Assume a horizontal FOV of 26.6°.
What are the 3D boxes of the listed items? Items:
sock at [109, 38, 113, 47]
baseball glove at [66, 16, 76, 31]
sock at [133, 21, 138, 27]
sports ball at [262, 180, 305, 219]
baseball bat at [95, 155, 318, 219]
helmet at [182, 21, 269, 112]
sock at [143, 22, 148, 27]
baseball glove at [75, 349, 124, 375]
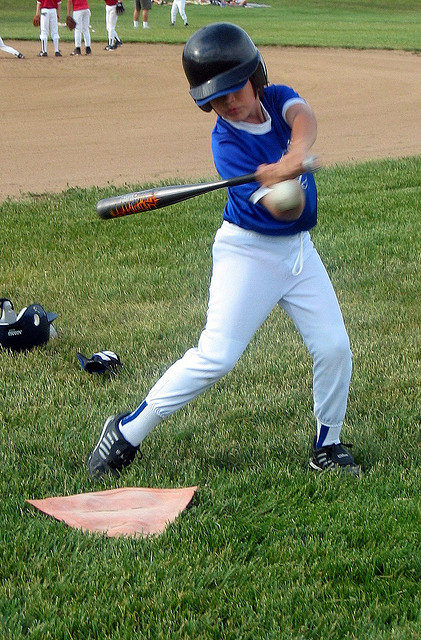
[{"bbox_3d":[-2.188,-6.047,19.596,0.076,0.235,0.060,7,46,6],"label":"sock"},{"bbox_3d":[-2.643,-5.563,16.841,0.088,0.250,0.190,-18,38,6],"label":"baseball glove"},{"bbox_3d":[-2.120,-8.261,25.079,0.120,0.182,0.125,-5,37,0],"label":"sock"},{"bbox_3d":[0.261,-0.430,3.237,0.146,0.142,0.148,0,9,0],"label":"sports ball"},{"bbox_3d":[-0.140,-0.489,3.574,0.772,0.184,0.180,7,12,38],"label":"baseball bat"},{"bbox_3d":[0.052,-0.992,3.429,0.321,0.305,0.222,0,9,2],"label":"helmet"},{"bbox_3d":[-1.856,-8.220,25.026,0.090,0.129,0.298,-1,9,-5],"label":"sock"},{"bbox_3d":[-0.631,0.234,5.102,0.176,0.150,0.079,11,39,-10],"label":"baseball glove"}]
